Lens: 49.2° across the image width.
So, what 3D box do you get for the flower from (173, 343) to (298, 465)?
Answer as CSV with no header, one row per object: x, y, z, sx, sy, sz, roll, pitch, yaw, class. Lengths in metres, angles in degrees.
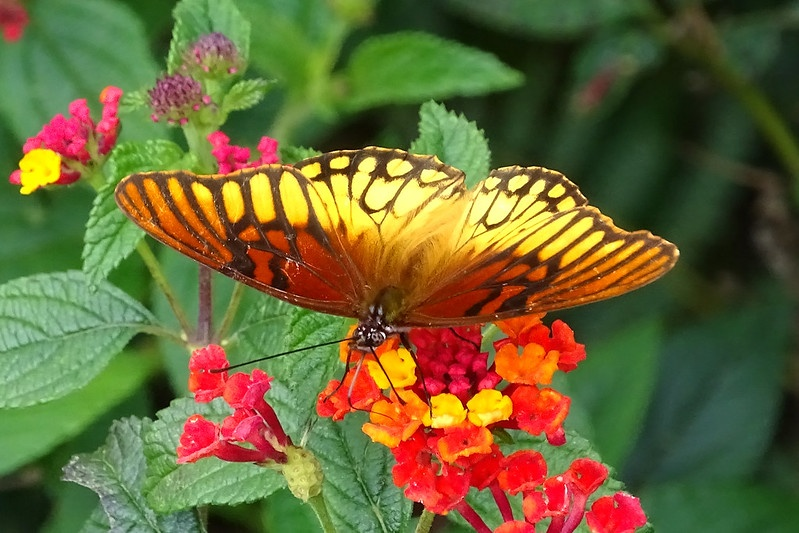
-0.464,0.385,2.621,0.326,0.163,0.349,28,101,20,flower
